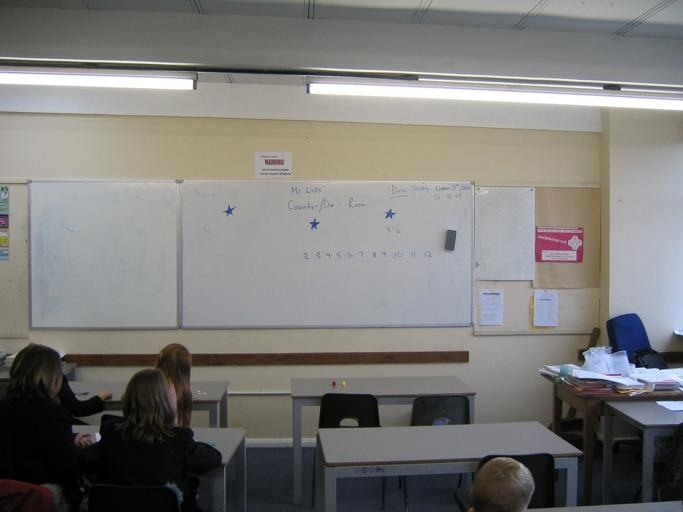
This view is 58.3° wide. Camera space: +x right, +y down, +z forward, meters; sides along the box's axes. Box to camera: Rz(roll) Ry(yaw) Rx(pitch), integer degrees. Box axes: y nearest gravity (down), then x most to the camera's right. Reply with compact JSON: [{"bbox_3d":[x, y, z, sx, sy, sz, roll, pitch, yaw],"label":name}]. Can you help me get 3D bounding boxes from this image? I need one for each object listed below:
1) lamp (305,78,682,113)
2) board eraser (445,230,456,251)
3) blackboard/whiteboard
[{"bbox_3d":[1.339,-1.271,5.107,2.186,0.298,0.068,1,26,-2],"label":"lamp"},{"bbox_3d":[1.043,-0.148,5.885,0.109,0.186,0.044,-1,3,9],"label":"board eraser"},{"bbox_3d":[-0.835,-0.011,5.804,4.079,1.385,0.041,0,-1,-3],"label":"blackboard/whiteboard"}]
